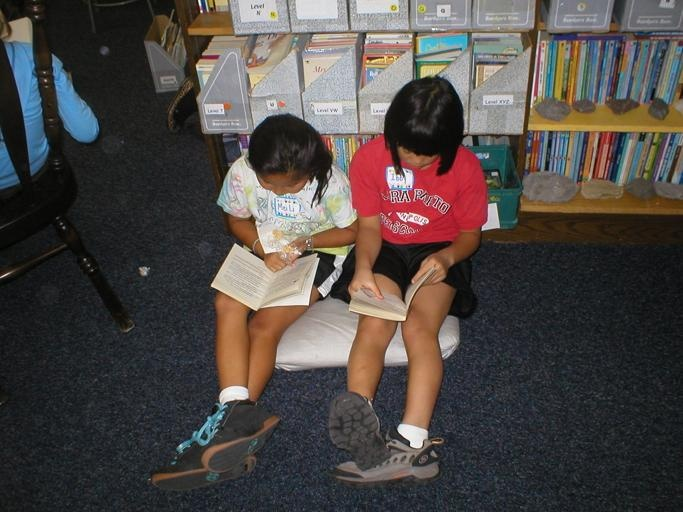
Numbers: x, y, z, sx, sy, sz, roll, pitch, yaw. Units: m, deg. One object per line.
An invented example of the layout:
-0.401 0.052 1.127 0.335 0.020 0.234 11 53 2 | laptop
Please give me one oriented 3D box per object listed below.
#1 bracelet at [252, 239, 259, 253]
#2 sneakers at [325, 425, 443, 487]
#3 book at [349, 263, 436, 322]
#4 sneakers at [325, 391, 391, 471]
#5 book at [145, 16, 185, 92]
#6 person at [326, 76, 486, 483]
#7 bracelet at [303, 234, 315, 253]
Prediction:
-0.345 -0.035 1.941 0.034 0.045 0.036 -11 28 -15 | bracelet
0.118 0.659 1.663 0.405 0.199 0.145 1 7 -2 | sneakers
0.136 0.164 1.646 0.316 0.128 0.176 9 27 -4 | book
0.041 0.541 1.580 0.147 0.268 0.109 -14 21 4 | sneakers
-1.261 -1.444 3.508 0.260 0.454 0.509 -11 33 -16 | book
0.234 0.125 1.772 0.576 0.817 1.406 3 59 9 | person
-0.127 -0.053 1.917 0.042 0.055 0.023 8 -9 -24 | bracelet
